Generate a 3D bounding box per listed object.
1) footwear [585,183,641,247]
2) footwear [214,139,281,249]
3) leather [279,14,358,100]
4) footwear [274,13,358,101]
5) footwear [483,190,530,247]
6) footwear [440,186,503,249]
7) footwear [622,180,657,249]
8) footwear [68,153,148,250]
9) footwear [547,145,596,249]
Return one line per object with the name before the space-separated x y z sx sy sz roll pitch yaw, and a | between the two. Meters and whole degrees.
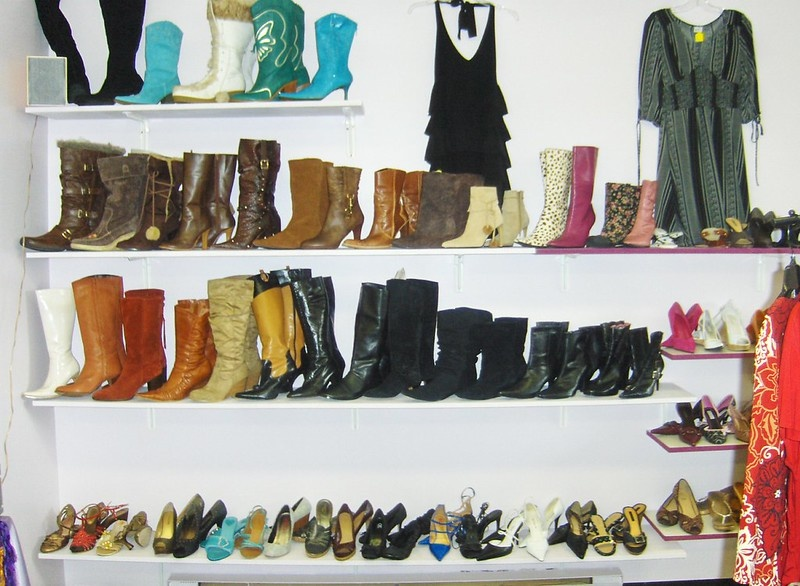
footwear | 1.288 -0.468 5.146 0.372 0.449 0.200 -4 -14 14
footwear | -0.864 -0.591 5.047 0.402 0.638 0.207 -3 5 -24
leather | -0.482 -1.373 5.028 0.438 0.494 0.200 -2 18 -10
footwear | -0.478 -1.361 5.030 0.447 0.507 0.206 -2 8 -10
footwear | 0.627 -0.447 5.119 0.295 0.332 0.140 -4 2 -10
footwear | 0.429 -0.447 5.043 0.356 0.370 0.168 -1 4 -1
footwear | 1.448 -0.474 5.094 0.278 0.387 0.140 -5 6 -39
footwear | -1.694 -0.543 5.006 0.248 0.529 0.497 24 28 38
footwear | 1.012 -0.570 5.035 0.298 0.595 0.149 -1 4 0
